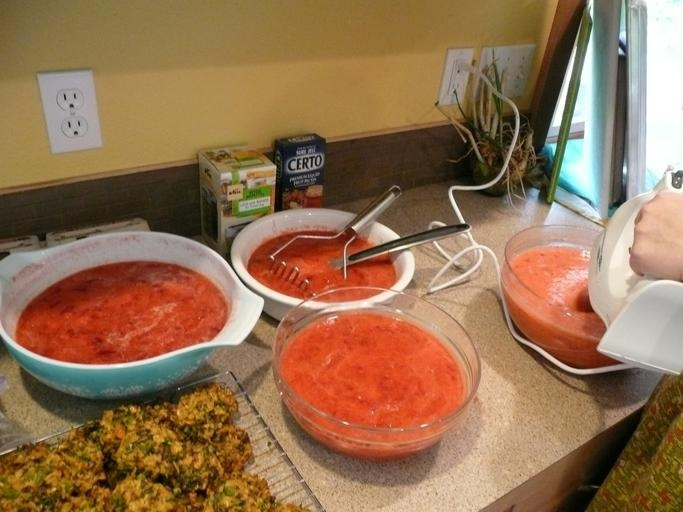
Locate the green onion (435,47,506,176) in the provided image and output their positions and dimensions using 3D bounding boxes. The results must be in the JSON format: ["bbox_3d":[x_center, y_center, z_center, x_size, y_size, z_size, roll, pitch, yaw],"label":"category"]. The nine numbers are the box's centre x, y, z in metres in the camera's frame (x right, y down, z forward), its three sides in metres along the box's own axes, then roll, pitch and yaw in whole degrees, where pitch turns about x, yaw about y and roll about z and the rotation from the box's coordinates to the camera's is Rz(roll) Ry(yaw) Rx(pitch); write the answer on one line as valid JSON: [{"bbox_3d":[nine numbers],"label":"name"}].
[{"bbox_3d":[0.393,-0.451,1.527,0.209,0.414,0.165,-9,35,-7],"label":"green onion"}]

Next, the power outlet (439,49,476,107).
[{"bbox_3d":[0.337,-0.529,1.484,0.125,0.175,0.018,-22,51,-22],"label":"power outlet"}]

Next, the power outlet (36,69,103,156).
[{"bbox_3d":[-0.558,-0.296,1.032,0.122,0.150,0.070,-14,28,-37],"label":"power outlet"}]

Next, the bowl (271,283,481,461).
[{"bbox_3d":[0.054,0.203,0.887,0.285,0.118,0.290,6,36,-4],"label":"bowl"}]
